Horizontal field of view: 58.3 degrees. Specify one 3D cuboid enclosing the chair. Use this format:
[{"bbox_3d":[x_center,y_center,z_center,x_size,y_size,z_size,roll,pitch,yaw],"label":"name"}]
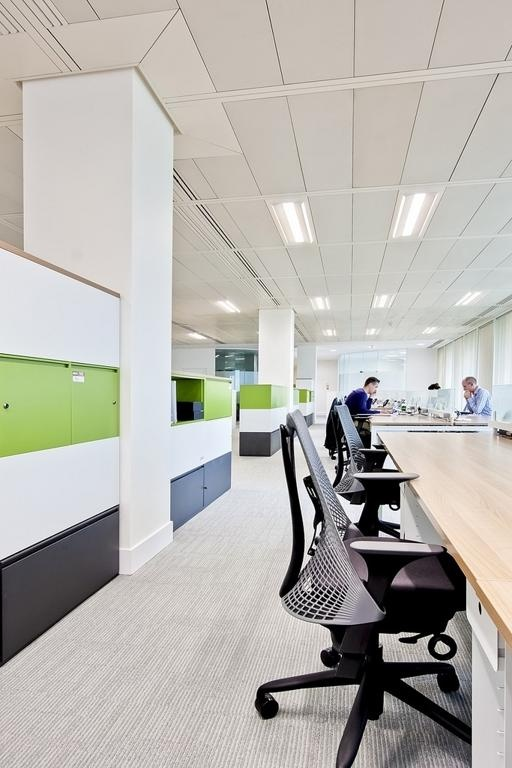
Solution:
[{"bbox_3d":[0.286,0.557,1.566,0.650,1.183,0.834,-1,-5,8],"label":"chair"}]
